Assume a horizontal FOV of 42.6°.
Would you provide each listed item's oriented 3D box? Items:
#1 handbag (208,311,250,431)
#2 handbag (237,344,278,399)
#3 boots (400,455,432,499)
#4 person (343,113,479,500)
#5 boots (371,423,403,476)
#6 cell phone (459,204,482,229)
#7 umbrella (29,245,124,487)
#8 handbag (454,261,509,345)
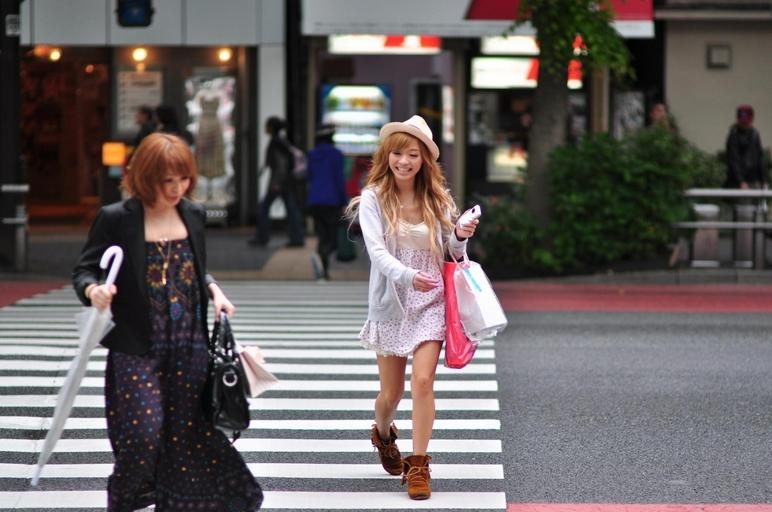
[{"bbox_3d":[-1.093,0.791,6.736,0.239,0.743,0.308,-4,10,-19],"label":"handbag"},{"bbox_3d":[-0.966,0.793,6.875,0.142,0.356,0.298,-26,-6,21],"label":"handbag"},{"bbox_3d":[0.242,1.652,7.474,0.219,0.355,0.278,0,10,1],"label":"boots"},{"bbox_3d":[0.187,0.366,7.654,0.790,2.821,0.801,7,12,38],"label":"person"},{"bbox_3d":[0.020,1.565,7.819,0.170,0.509,0.187,-15,-11,-16],"label":"boots"},{"bbox_3d":[0.666,-0.282,7.478,0.199,0.053,0.120,-32,36,19],"label":"cell phone"},{"bbox_3d":[-2.694,1.030,8.551,0.410,2.512,0.421,39,22,27],"label":"umbrella"},{"bbox_3d":[0.713,0.360,7.470,0.383,0.663,0.321,0,10,4],"label":"handbag"}]
